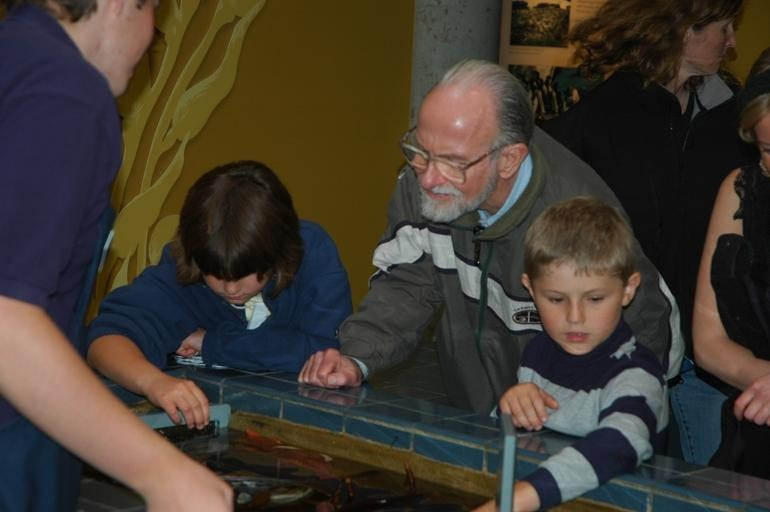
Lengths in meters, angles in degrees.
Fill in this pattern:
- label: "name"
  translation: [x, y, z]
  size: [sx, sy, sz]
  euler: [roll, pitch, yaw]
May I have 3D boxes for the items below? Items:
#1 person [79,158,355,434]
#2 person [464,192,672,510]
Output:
- label: "person"
  translation: [-0.570, 0.227, 2.759]
  size: [0.924, 0.777, 0.992]
  euler: [0, 39, -1]
- label: "person"
  translation: [0.509, 0.268, 2.206]
  size: [0.494, 0.621, 0.960]
  euler: [-4, 65, 4]
